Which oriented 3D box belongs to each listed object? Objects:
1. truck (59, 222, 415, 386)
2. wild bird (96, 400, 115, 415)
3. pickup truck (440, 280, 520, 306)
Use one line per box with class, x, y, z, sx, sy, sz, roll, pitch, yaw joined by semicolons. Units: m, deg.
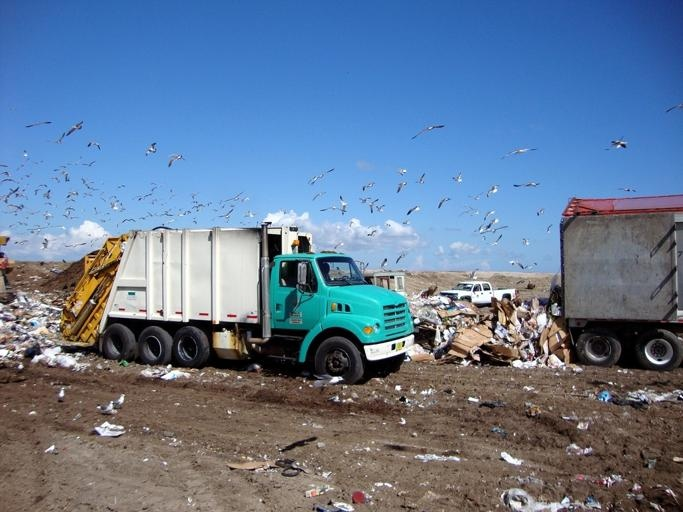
truck;-2.910;1.157;12.780;9.554;2.937;3.369;0;-6;26
wild bird;-4.349;2.838;8.737;0.186;0.251;0.464;6;-12;-44
pickup truck;8.097;2.192;28.116;4.602;1.450;2.507;5;-9;-33
